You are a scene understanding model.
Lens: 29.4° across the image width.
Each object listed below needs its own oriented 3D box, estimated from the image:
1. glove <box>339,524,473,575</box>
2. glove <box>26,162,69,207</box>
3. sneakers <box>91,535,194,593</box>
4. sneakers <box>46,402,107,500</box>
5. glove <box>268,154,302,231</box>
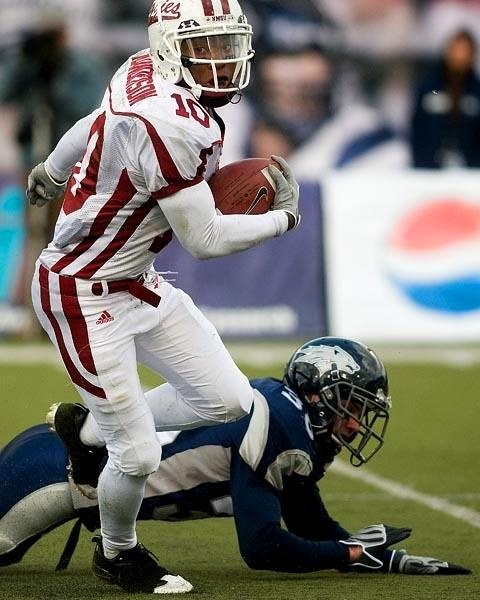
[{"bbox_3d":[0.458,0.741,2.643,0.269,0.187,0.087,5,77,0],"label":"glove"},{"bbox_3d":[-0.630,-0.380,3.000,0.078,0.160,0.118,-24,80,-47],"label":"glove"},{"bbox_3d":[-0.286,0.738,2.554,0.320,0.107,0.107,4,83,20],"label":"sneakers"},{"bbox_3d":[-0.481,0.446,2.802,0.118,0.132,0.321,10,43,-52],"label":"sneakers"},{"bbox_3d":[0.128,-0.313,2.666,0.069,0.189,0.146,17,24,-12],"label":"glove"}]
